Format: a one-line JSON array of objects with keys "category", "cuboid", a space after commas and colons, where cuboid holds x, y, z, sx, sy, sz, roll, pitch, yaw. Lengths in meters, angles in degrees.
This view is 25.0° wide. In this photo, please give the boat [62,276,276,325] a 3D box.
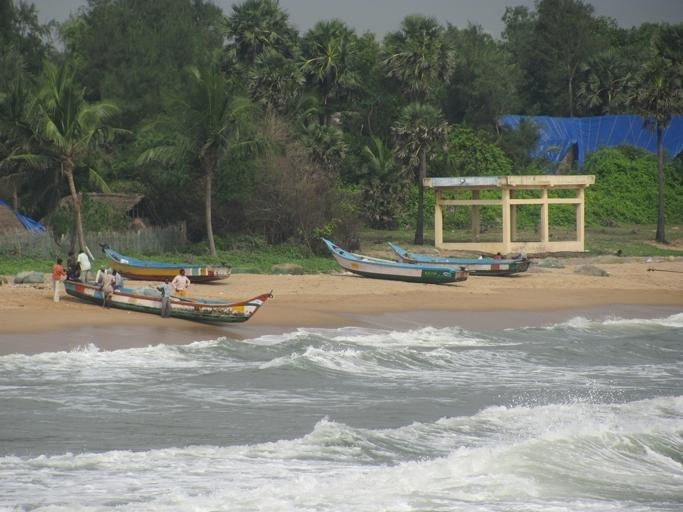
[{"category": "boat", "cuboid": [-8.817, 2.249, 77.895, 9.886, 2.129, 0.998, -1, 0, 14]}]

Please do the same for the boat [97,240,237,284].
[{"category": "boat", "cuboid": [-9.604, 1.160, 85.886, 9.370, 2.520, 2.533, 6, 0, 22]}]
